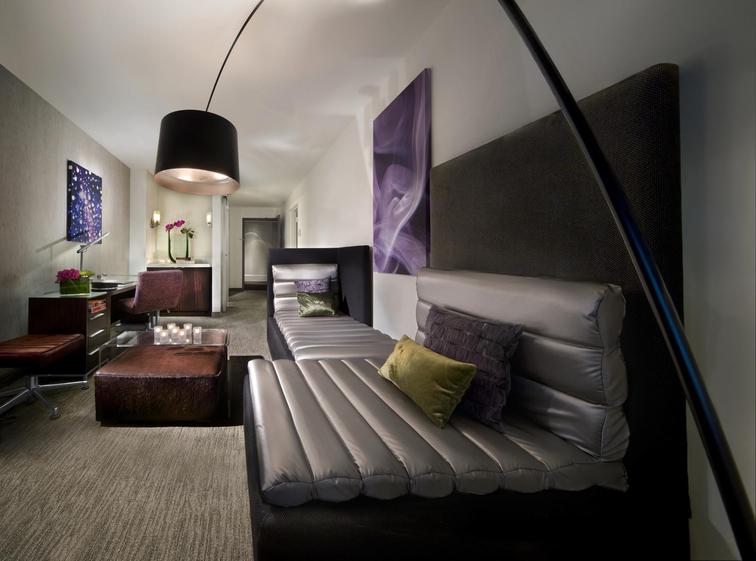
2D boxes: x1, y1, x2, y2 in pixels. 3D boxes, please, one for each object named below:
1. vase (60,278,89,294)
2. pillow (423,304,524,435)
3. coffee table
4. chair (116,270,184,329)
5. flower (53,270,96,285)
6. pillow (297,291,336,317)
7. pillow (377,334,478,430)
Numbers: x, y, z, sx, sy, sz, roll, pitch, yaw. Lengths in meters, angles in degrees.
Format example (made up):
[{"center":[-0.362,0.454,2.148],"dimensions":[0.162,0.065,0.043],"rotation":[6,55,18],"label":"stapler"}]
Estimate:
[{"center":[-2.415,0.050,4.327],"dimensions":[0.133,0.090,0.140],"rotation":[0,-5,-5],"label":"vase"},{"center":[0.418,0.400,2.325],"dimensions":[0.167,0.340,0.484],"rotation":[37,-14,-22],"label":"pillow"},{"center":[-1.290,0.623,3.329],"dimensions":[0.466,0.263,0.648],"rotation":[2,4,-9],"label":"coffee table"},{"center":[-2.174,0.124,5.160],"dimensions":[0.525,0.638,0.436],"rotation":[12,10,30],"label":"chair"},{"center":[-2.431,-0.035,4.394],"dimensions":[0.164,0.077,0.172],"rotation":[1,-3,-3],"label":"flower"},{"center":[-0.532,0.216,4.736],"dimensions":[0.219,0.073,0.234],"rotation":[-7,32,-41],"label":"pillow"},{"center":[0.201,0.424,2.499],"dimensions":[0.192,0.225,0.525],"rotation":[-4,15,-34],"label":"pillow"}]
